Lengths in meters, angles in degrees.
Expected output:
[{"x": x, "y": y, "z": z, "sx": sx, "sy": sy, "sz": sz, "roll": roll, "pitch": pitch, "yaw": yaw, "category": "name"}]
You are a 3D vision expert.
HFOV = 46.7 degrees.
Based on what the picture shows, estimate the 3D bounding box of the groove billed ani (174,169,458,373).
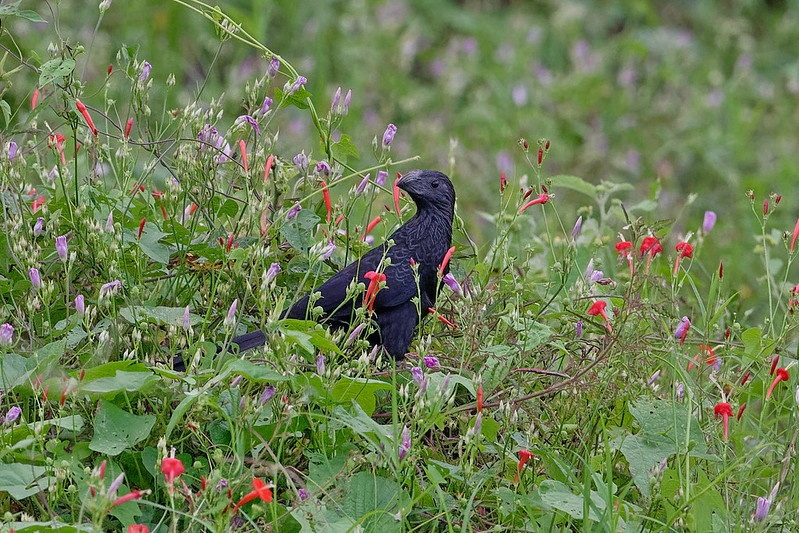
[{"x": -0.242, "y": 0.070, "z": 3.178, "sx": 1.017, "sy": 0.707, "sz": 0.266, "roll": -8, "pitch": -2, "yaw": -13, "category": "groove billed ani"}]
